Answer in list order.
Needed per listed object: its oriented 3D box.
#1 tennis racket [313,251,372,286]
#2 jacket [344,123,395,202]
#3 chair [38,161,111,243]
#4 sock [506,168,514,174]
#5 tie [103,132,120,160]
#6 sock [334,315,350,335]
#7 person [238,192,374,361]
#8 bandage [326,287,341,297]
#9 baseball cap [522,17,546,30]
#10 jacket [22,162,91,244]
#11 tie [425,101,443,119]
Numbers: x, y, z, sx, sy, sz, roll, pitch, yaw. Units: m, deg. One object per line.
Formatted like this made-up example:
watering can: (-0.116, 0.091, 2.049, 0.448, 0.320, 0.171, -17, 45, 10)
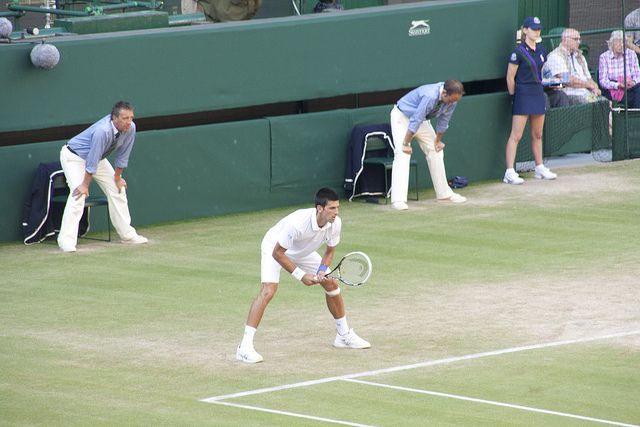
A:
tennis racket: (0.343, 0.673, 13.299, 0.532, 0.410, 0.470, -2, 9, 3)
jacket: (0.912, -0.938, 20.320, 0.945, 1.390, 0.435, -4, 10, -9)
chair: (-4.084, -0.244, 18.422, 1.312, 1.629, 1.366, 4, 6, 33)
sock: (3.719, -0.843, 21.381, 0.135, 0.108, 0.168, -1, 10, 9)
tie: (-3.252, -1.080, 17.259, 0.106, 0.371, 0.283, 29, 15, 8)
sock: (0.283, 1.396, 13.569, 0.172, 0.213, 0.096, -3, 10, 1)
person: (-0.125, 0.609, 13.413, 1.028, 2.141, 1.451, -2, 3, -37)
bandage: (0.202, 0.969, 13.478, 0.122, 0.110, 0.257, 5, 12, 40)
baseball cap: (4.054, -3.621, 20.732, 0.351, 0.176, 0.249, 9, 14, 41)
jacket: (-4.267, -0.212, 18.032, 0.783, 1.290, 1.214, 14, 12, 37)
tie: (2.043, -1.827, 19.313, 0.177, 0.308, 0.230, 42, 0, 20)
